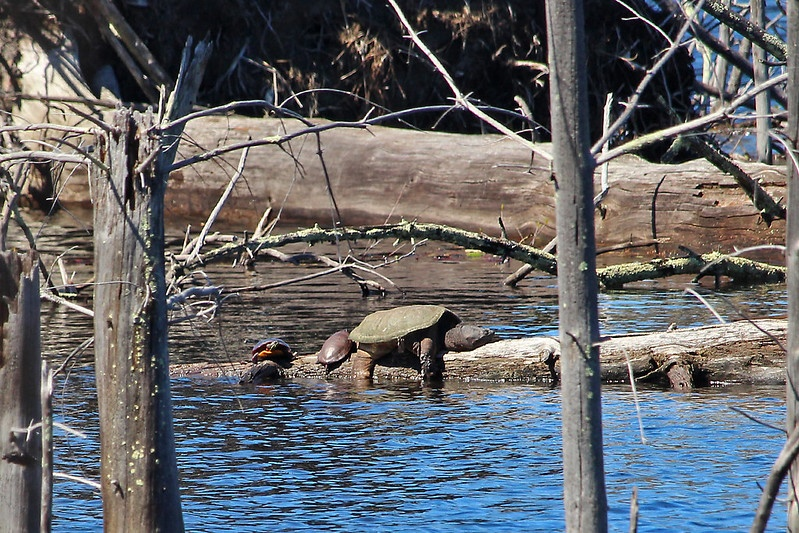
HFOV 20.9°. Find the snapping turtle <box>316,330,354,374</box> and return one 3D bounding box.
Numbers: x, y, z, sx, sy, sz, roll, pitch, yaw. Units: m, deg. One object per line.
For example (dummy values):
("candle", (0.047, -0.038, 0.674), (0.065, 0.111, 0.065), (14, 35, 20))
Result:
("snapping turtle", (-1.161, 1.582, 40.988), (0.578, 0.794, 0.264), (18, -30, 37))

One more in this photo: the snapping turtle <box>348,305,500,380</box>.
("snapping turtle", (0.496, 1.391, 41.099), (2.857, 1.260, 1.733), (1, 13, 25))
